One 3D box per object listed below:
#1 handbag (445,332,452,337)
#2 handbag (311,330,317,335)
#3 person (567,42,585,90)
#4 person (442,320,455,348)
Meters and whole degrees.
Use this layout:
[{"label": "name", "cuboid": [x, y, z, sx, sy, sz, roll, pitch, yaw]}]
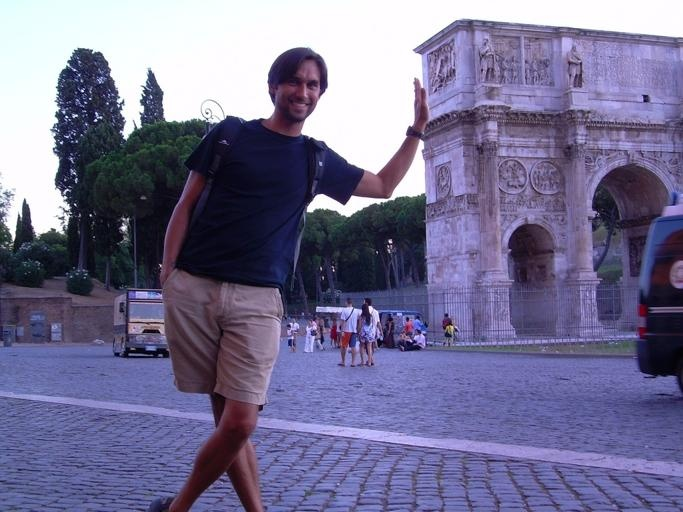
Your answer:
[{"label": "handbag", "cuboid": [5.177, 3.803, 30.523, 0.287, 0.276, 0.309, -5, -5, 11]}, {"label": "handbag", "cuboid": [-1.408, 3.895, 32.069, 0.265, 0.123, 0.280, 15, -5, -20]}, {"label": "person", "cuboid": [12.350, -10.117, 33.455, 0.914, 2.525, 0.528, -2, -5, -20]}, {"label": "person", "cuboid": [5.297, 3.728, 31.040, 0.444, 1.317, 1.493, -4, -5, 9]}]
